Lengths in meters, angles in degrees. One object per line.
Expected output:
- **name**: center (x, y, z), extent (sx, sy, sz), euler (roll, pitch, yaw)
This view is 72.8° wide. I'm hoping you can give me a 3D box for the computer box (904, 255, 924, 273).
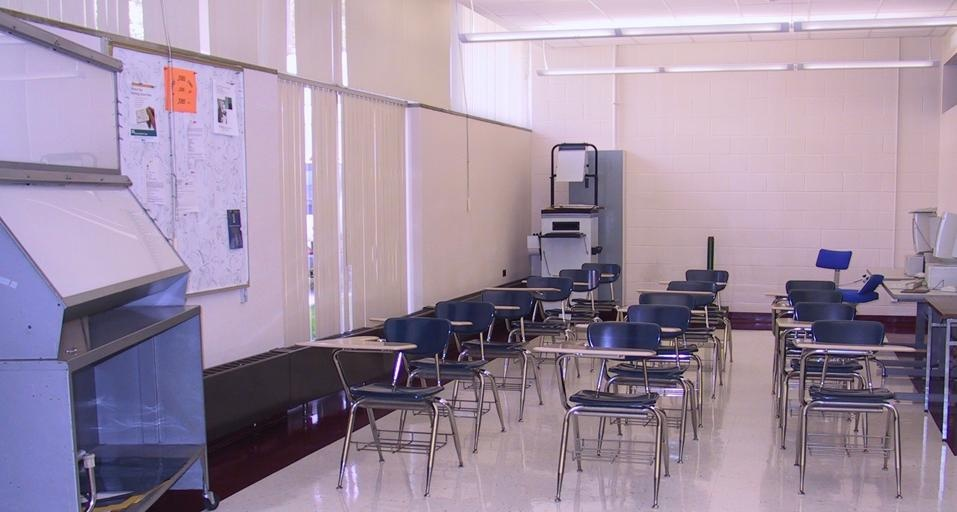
- **computer box**: center (6.273, 0.116, 9.359), extent (0.271, 0.218, 0.250), euler (-3, 4, 4)
